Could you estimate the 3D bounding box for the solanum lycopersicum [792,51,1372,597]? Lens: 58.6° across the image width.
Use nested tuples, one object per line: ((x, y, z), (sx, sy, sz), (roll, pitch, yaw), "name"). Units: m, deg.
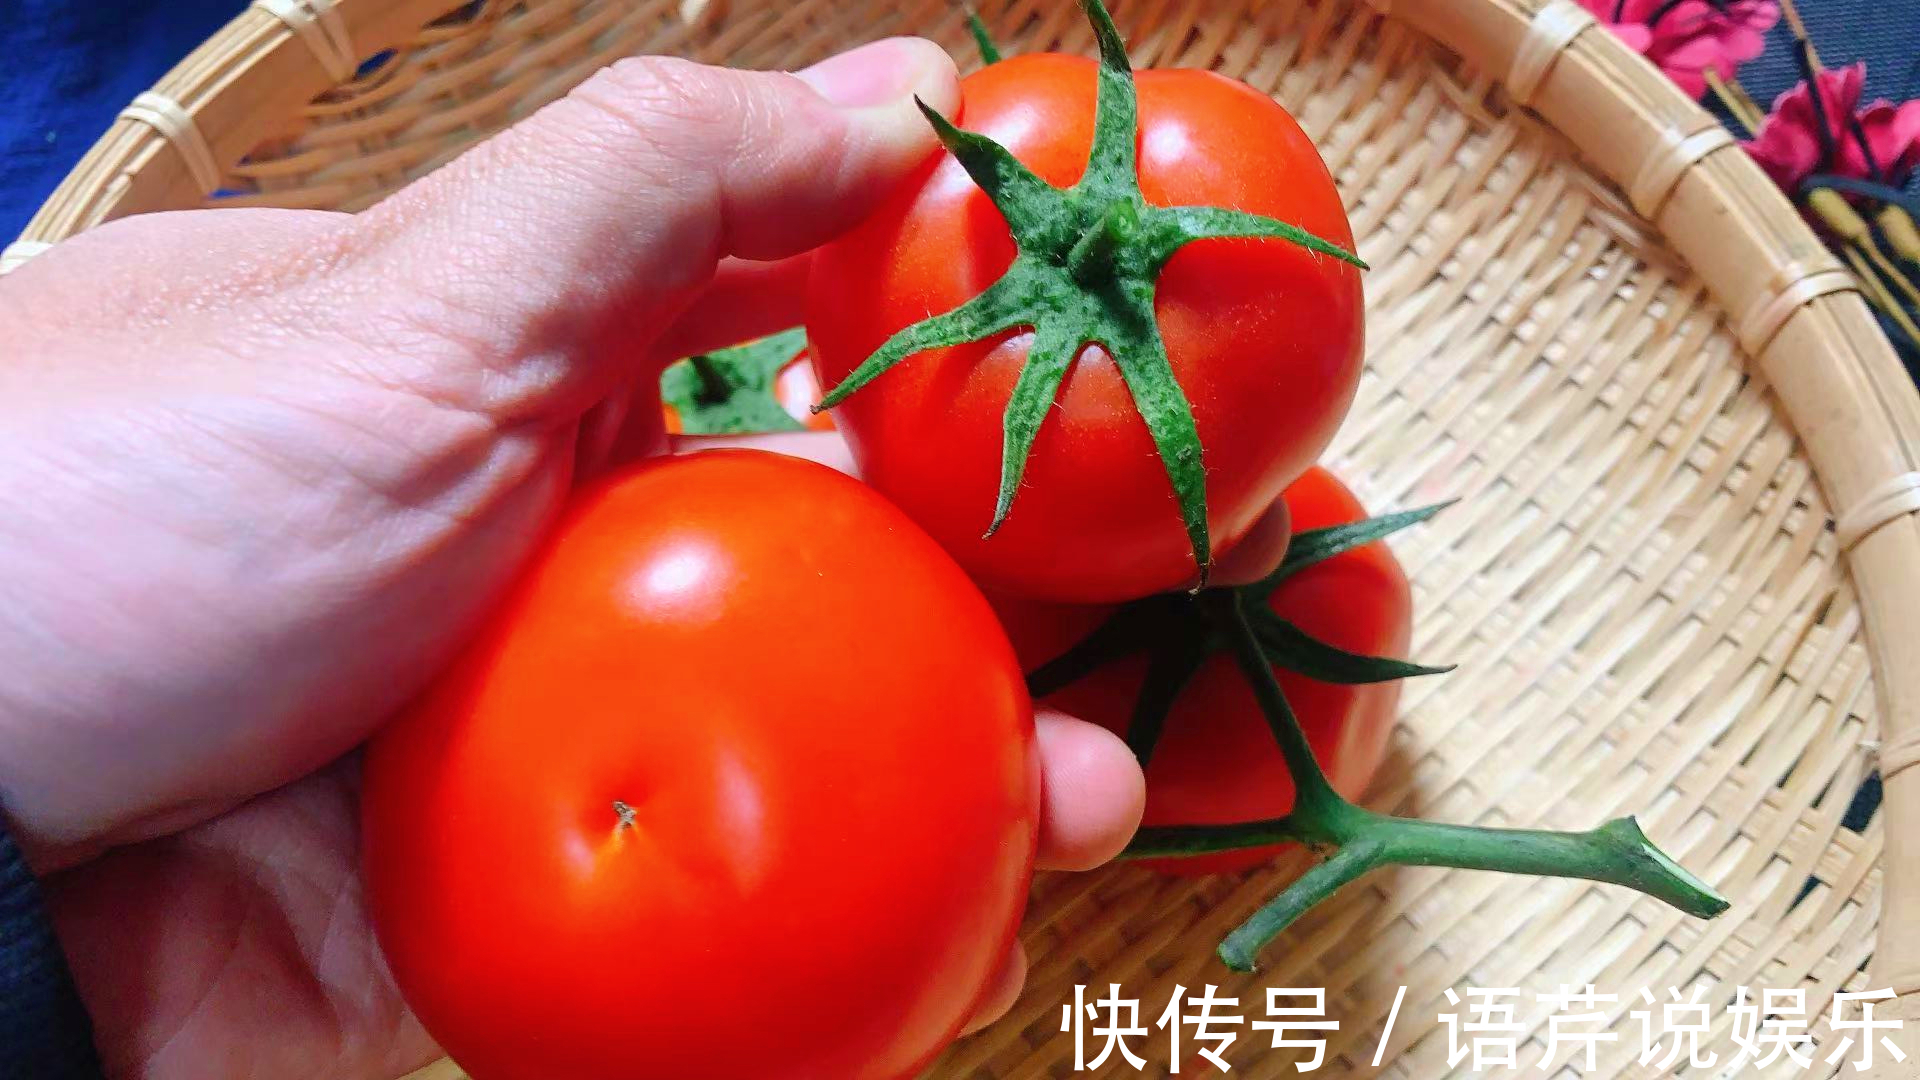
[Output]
((0.095, -0.163, 1.230), (0.372, 0.202, 0.371), (-42, 85, -21), "solanum lycopersicum")
